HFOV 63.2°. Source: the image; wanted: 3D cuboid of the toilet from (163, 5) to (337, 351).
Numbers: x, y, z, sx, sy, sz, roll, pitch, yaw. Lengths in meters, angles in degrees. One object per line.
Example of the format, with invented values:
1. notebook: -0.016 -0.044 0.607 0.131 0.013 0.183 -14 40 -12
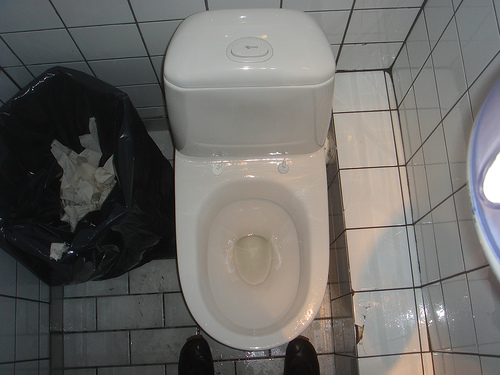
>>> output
1. toilet: 0.003 -0.060 1.429 0.464 1.024 1.119 -2 70 -2
